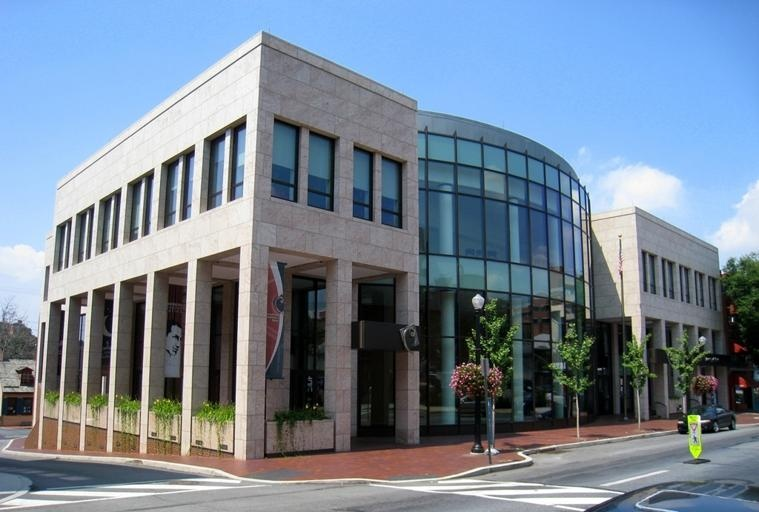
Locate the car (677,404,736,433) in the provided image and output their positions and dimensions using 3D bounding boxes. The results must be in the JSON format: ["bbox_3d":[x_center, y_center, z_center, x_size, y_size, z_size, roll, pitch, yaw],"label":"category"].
[{"bbox_3d":[21.779,10.663,44.997,4.223,1.758,0.898,12,-23,-38],"label":"car"}]
